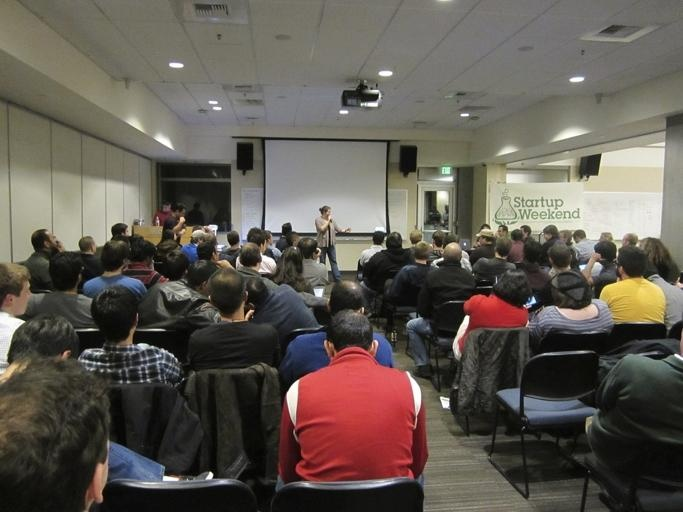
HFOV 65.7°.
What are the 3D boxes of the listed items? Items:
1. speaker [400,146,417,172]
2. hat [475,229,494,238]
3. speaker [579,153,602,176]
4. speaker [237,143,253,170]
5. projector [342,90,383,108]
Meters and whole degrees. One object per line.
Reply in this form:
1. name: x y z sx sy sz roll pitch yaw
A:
1. speaker: 1.448 -2.135 11.539 0.445 0.688 0.356 2 8 1
2. hat: 2.221 -0.348 8.155 0.251 0.122 0.365 1 -1 15
3. speaker: 5.736 -2.139 12.266 0.413 0.829 0.444 -4 8 16
4. speaker: -2.073 -2.140 11.440 0.394 0.662 0.316 -5 10 -11
5. projector: 0.268 -2.172 7.323 0.365 0.182 0.277 0 5 -7
